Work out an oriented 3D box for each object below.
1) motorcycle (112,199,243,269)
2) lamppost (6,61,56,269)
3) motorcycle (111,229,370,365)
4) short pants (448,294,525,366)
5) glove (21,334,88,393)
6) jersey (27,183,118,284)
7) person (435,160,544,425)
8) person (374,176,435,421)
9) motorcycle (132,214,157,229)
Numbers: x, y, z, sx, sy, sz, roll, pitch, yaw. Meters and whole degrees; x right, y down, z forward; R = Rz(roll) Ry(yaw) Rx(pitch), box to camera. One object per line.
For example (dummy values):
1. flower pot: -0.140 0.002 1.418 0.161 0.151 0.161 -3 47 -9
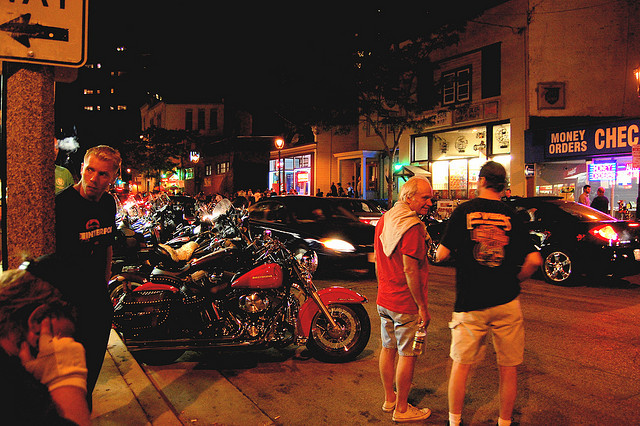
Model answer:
1. motorcycle: -2.667 0.398 8.806 2.097 1.226 1.330 -8 17 -10
2. lamppost: -2.461 -0.409 4.174 0.404 1.720 0.223 -2 6 -12
3. motorcycle: -1.042 1.077 6.397 3.360 1.672 1.334 0 -3 -5
4. short pants: 1.685 1.218 5.004 0.686 0.339 0.863 -14 38 26
5. glove: -1.641 0.921 3.054 0.289 0.288 0.380 0 2 -37
6. jersey: -2.280 0.271 4.825 0.328 0.812 1.011 12 11 32
7. person: 1.662 0.783 4.918 0.964 2.581 0.579 0 6 14
8. person: 0.887 0.917 5.238 0.601 2.554 0.485 0 6 13
9. motorcycle: -4.384 0.257 11.970 0.412 0.110 0.364 -27 12 -35
